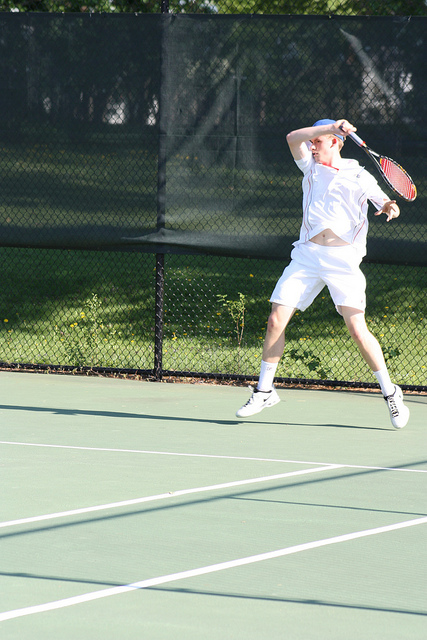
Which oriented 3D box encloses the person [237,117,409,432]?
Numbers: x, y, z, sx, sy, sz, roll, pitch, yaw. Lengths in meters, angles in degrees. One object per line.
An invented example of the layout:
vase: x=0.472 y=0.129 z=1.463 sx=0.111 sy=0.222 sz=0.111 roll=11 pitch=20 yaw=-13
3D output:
person: x=0.768 y=-0.274 z=4.755 sx=1.038 sy=2.020 sz=0.497 roll=3 pitch=4 yaw=27

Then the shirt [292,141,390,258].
shirt: x=0.873 y=-0.782 z=4.686 sx=0.592 sy=0.785 sz=0.310 roll=-12 pitch=2 yaw=25
